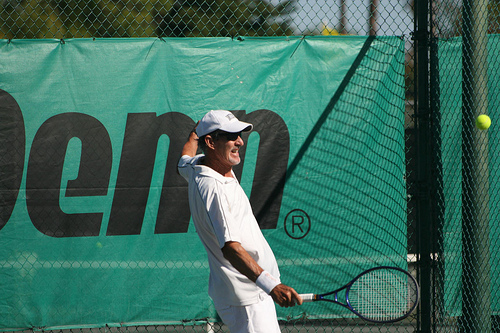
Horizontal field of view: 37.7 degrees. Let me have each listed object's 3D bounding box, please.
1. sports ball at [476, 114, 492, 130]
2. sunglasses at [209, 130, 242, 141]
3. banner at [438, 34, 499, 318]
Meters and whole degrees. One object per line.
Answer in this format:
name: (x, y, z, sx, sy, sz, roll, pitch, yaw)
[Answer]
sports ball: (2.477, -0.472, 7.766, 0.120, 0.153, 0.155, -14, 2, -8)
sunglasses: (-0.245, -0.314, 7.345, 0.303, 0.094, 0.054, 1, -1, -11)
banner: (2.432, 0.094, 8.085, 0.730, 2.297, 0.157, 1, 0, -6)
